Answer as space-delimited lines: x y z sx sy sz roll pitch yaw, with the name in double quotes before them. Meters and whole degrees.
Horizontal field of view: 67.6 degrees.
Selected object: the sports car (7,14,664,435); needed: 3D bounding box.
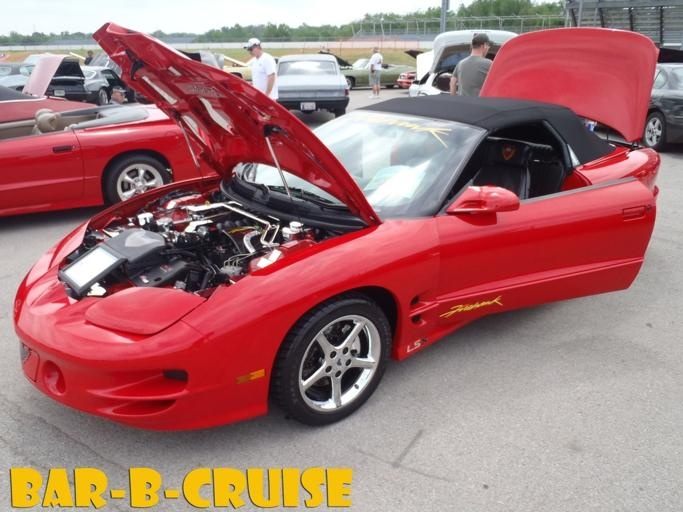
"sports car" 0.573 -0.443 3.806 5.374 1.774 2.338 -11 31 -21
